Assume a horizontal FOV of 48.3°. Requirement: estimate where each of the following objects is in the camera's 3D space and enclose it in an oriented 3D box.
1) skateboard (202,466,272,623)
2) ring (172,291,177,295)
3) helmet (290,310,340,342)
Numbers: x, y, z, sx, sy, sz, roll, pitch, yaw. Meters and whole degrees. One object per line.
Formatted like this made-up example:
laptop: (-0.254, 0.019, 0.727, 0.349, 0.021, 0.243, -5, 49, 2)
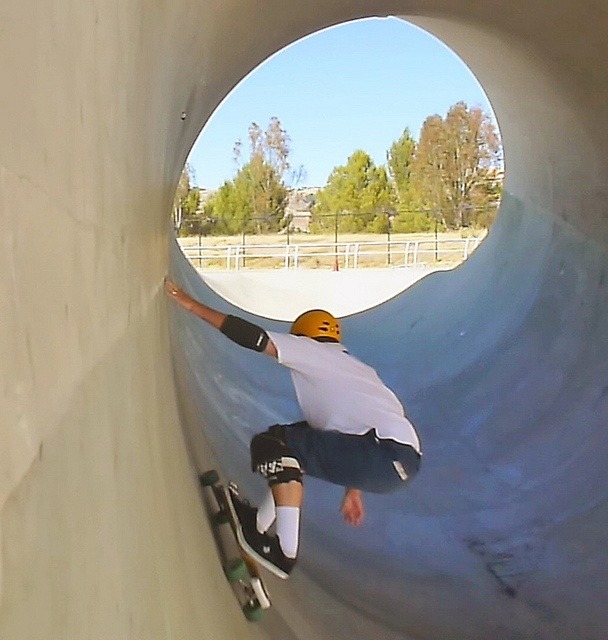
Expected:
skateboard: (-0.296, 0.838, 2.602, 0.168, 0.086, 0.676, 34, 26, -57)
ring: (-0.525, -0.111, 2.747, 0.013, 0.004, 0.014, 2, 35, -24)
helmet: (0.064, 0.006, 3.300, 0.180, 0.172, 0.179, 3, 18, 6)
